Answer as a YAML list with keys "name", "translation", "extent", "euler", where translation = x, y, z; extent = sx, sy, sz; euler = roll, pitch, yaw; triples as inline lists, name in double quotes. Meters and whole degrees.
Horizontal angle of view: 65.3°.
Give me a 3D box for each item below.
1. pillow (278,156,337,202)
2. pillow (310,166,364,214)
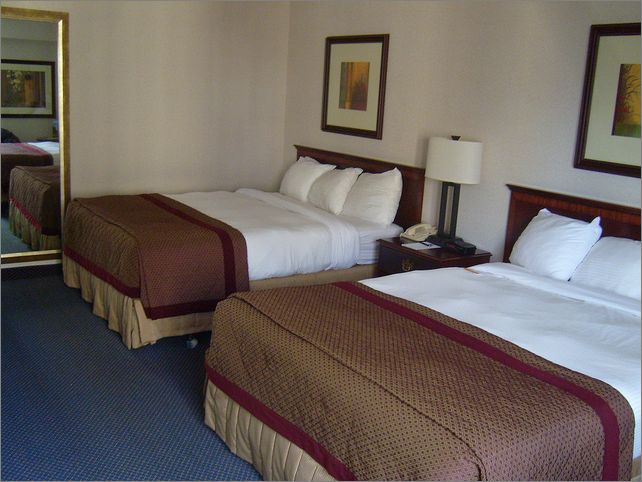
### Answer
- name: "pillow"
  translation: [-0.122, -0.764, 6.214]
  extent: [0.177, 0.579, 0.592]
  euler: [32, -3, -37]
- name: "pillow"
  translation: [0.244, -0.545, 5.775]
  extent: [0.171, 0.550, 0.564]
  euler: [27, -3, -37]
